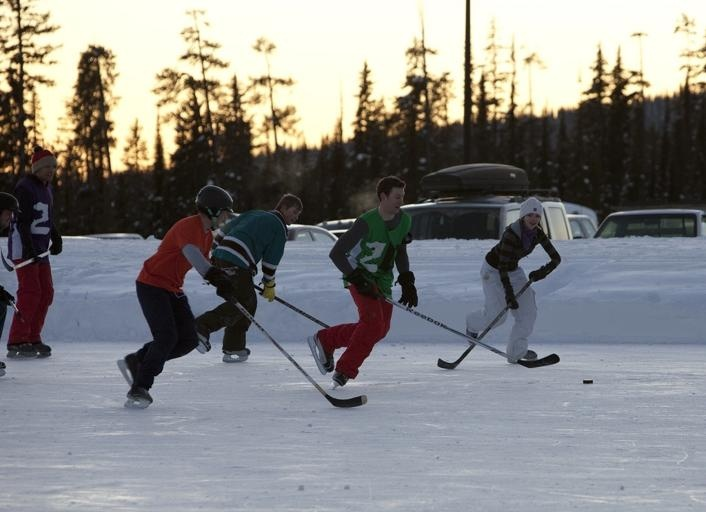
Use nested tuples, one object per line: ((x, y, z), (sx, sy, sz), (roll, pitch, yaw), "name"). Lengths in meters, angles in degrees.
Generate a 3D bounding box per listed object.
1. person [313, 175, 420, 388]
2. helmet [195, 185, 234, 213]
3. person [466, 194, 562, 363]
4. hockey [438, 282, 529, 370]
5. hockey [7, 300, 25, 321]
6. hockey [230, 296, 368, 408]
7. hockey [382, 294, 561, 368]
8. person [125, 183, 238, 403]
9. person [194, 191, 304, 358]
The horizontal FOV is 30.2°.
((0.137, 0.301, 13.799), (1.124, 2.193, 0.960), (1, 2, -6), "person")
((-1.388, -0.564, 13.090), (0.344, 0.232, 0.235), (10, -1, -6), "helmet")
((1.987, 0.273, 15.516), (1.089, 1.831, 0.784), (0, 0, 37), "person")
((1.598, 0.905, 15.898), (1.533, 0.213, 0.175), (-35, 13, -16), "hockey")
((-4.050, 0.653, 15.702), (0.083, 0.082, 0.460), (-42, 29, -10), "hockey")
((-0.620, 1.124, 14.760), (0.240, 0.253, 1.766), (-12, 39, -43), "hockey")
((1.539, 0.865, 15.209), (1.242, 0.280, 0.055), (-46, 14, -30), "hockey")
((-1.666, 0.385, 13.048), (1.287, 2.026, 0.958), (0, 0, -26), "person")
((-1.233, 0.276, 14.979), (1.211, 1.931, 0.826), (0, 0, 25), "person")
